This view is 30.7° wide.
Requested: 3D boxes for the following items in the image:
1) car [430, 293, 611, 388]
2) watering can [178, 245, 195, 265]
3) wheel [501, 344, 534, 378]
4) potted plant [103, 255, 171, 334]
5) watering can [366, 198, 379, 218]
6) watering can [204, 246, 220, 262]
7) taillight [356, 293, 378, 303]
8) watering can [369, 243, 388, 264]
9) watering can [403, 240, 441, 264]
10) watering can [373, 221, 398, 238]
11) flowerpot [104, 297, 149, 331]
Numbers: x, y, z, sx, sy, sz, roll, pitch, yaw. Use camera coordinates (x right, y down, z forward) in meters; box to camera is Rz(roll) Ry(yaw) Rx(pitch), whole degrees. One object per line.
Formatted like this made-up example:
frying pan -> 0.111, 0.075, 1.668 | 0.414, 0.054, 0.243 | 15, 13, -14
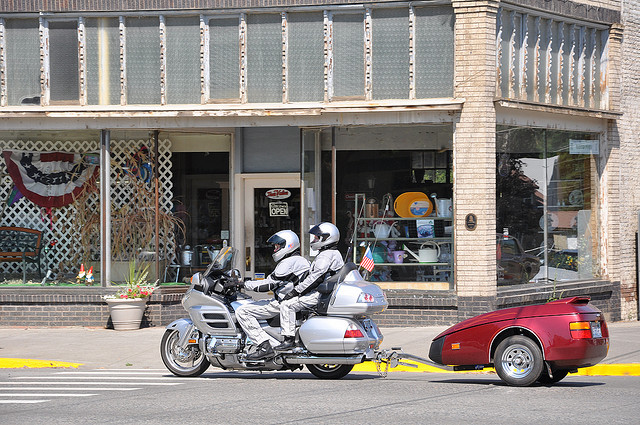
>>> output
car -> 4.063, 2.479, 23.099 | 2.970, 1.378, 1.664 | 0, -5, 25
watering can -> -3.404, 1.087, 29.821 | 0.393, 0.397, 0.492 | 0, -5, -12
wheel -> 3.848, 2.823, 22.545 | 0.259, 0.779, 0.859 | -3, 1, -43
potted plant -> -4.649, 1.934, 28.908 | 1.130, 1.666, 1.585 | 5, 11, 33
watering can -> 1.287, -0.121, 28.717 | 0.354, 0.463, 0.448 | 0, -7, -1
watering can -> -2.769, 1.018, 29.611 | 0.361, 0.236, 0.366 | 1, 1, 35
taillight -> 0.916, 1.644, 22.997 | 0.380, 0.194, 0.070 | -2, 10, -5
watering can -> 1.444, 1.001, 28.631 | 0.522, 0.396, 0.372 | -2, 3, -1
watering can -> 2.486, 0.982, 28.270 | 0.751, 0.423, 0.388 | 2, -4, 13
watering can -> 1.556, 0.378, 28.642 | 0.526, 0.390, 0.131 | -1, 10, 3
flowerpot -> -4.736, 2.419, 28.852 | 0.931, 0.574, 0.812 | 0, -1, 4
